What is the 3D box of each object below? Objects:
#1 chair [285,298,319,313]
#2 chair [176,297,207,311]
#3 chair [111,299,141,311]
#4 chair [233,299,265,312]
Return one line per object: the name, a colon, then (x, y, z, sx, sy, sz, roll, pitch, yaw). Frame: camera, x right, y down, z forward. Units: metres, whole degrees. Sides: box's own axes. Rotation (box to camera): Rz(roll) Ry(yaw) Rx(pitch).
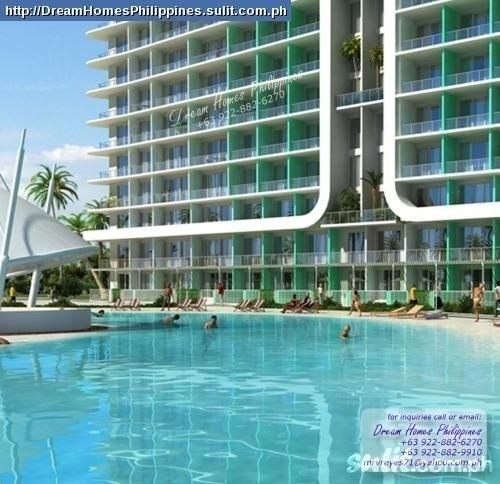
chair: (2.585, 5.087, 39.260, 1.706, 0.711, 1.136, -2, -9, 18)
chair: (-4.075, 5.330, 41.636, 1.857, 0.789, 1.060, 2, -7, -11)
chair: (-8.283, 5.789, 44.543, 1.236, 1.075, 2.431, -2, -9, 21)
chair: (-0.310, 5.523, 42.254, 1.470, 0.663, 1.057, -4, -6, 32)
